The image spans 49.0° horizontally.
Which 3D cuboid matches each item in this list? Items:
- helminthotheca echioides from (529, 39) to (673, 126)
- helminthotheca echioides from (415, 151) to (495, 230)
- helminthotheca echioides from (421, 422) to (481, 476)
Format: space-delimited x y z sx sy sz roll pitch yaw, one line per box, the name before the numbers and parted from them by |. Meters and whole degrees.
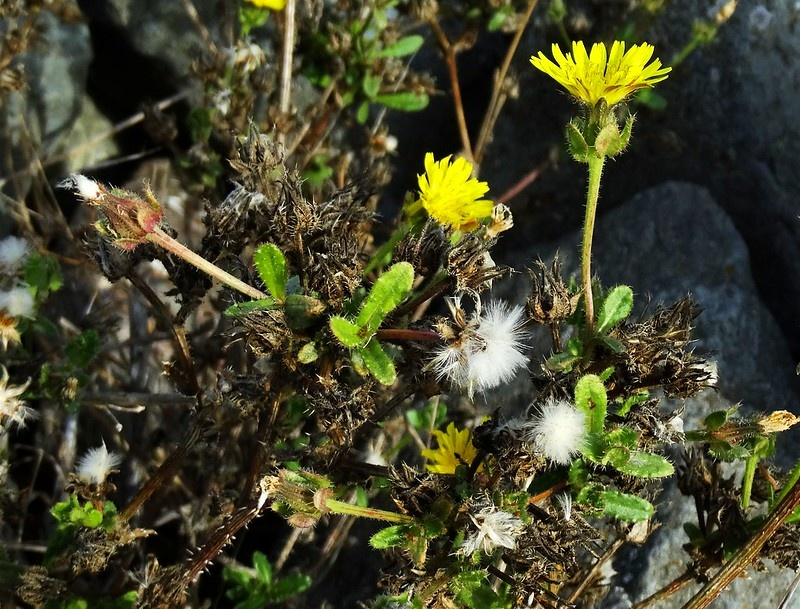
helminthotheca echioides | 0.554 -0.630 2.498 0.324 0.192 0.374 3 7 -3
helminthotheca echioides | 0.147 -0.304 2.529 0.098 0.200 0.221 -21 -78 52
helminthotheca echioides | 0.168 0.436 2.740 0.073 0.168 0.143 24 -23 -29
